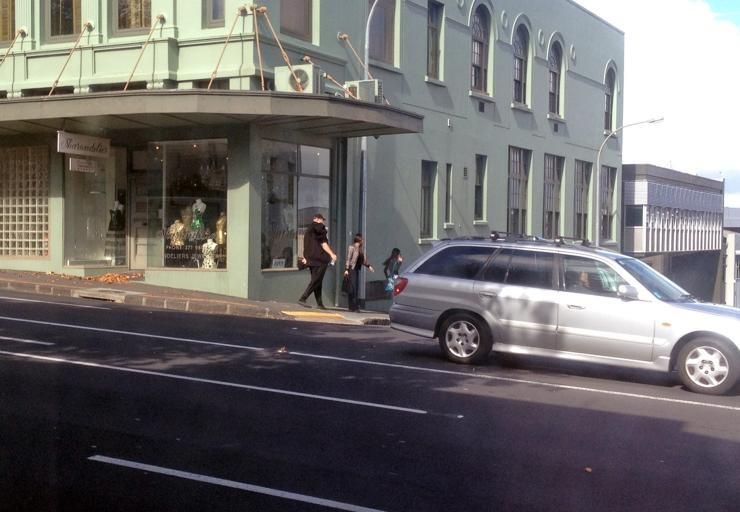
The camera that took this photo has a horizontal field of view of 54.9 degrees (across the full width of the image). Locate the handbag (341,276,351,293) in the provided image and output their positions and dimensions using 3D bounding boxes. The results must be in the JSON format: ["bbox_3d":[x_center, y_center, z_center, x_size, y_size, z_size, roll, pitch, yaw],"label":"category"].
[{"bbox_3d":[-0.568,0.721,17.962,0.105,0.439,0.210,-2,6,-45],"label":"handbag"}]

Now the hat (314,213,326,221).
[{"bbox_3d":[-1.217,-1.008,17.471,0.236,0.185,0.327,1,-9,8],"label":"hat"}]

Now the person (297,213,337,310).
[{"bbox_3d":[-1.254,0.159,17.609,0.657,2.360,0.959,0,5,-31],"label":"person"}]

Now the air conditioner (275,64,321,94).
[{"bbox_3d":[-1.847,-4.595,18.597,1.026,0.854,0.632,0,-2,9],"label":"air conditioner"}]
